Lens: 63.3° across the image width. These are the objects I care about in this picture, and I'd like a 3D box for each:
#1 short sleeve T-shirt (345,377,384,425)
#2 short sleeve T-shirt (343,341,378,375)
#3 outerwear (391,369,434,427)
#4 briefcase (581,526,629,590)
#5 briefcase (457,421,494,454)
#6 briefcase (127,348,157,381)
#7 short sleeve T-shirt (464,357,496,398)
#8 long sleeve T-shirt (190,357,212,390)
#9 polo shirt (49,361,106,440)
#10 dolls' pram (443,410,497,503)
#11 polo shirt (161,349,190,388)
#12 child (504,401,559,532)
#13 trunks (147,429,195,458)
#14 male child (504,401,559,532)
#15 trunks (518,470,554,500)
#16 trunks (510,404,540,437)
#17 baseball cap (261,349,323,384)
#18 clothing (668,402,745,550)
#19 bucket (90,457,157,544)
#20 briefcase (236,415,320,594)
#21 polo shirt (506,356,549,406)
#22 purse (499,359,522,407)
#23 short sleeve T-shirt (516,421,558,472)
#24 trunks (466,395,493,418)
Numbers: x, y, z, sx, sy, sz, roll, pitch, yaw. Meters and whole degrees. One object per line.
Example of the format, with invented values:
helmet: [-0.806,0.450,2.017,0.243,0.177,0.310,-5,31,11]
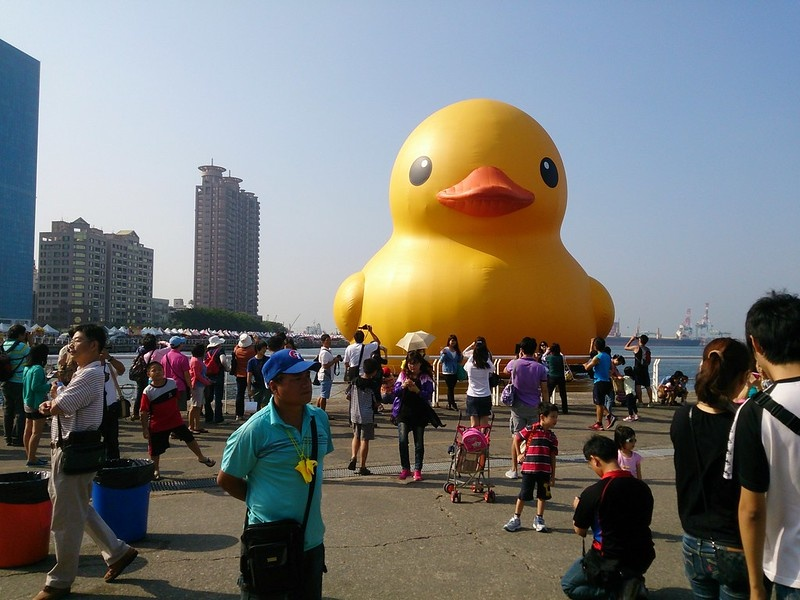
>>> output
short sleeve T-shirt: [-0.490,1.358,8.802,0.430,0.634,0.441,3,-2,-5]
short sleeve T-shirt: [-0.672,0.914,11.083,0.639,0.689,0.376,0,-4,-4]
outerwear: [0.163,1.261,8.430,0.485,0.735,0.444,2,-16,11]
briefcase: [1.560,1.991,4.973,0.299,0.292,0.223,32,12,19]
briefcase: [0.869,1.626,7.766,0.304,0.202,0.422,-2,0,0]
briefcase: [-4.263,1.065,10.679,0.582,0.626,0.446,4,-9,-18]
short sleeve T-shirt: [1.139,1.110,9.339,0.531,0.769,0.444,-1,-6,12]
long sleeve T-shirt: [-3.591,1.279,11.546,0.401,0.596,0.574,-4,0,-10]
polo shirt: [-2.827,0.929,5.759,0.348,0.706,0.595,8,-6,-27]
dolls' pram: [0.817,1.836,7.756,0.607,1.066,0.745,3,-4,10]
polo shirt: [-3.655,1.075,10.465,0.471,0.686,0.253,6,16,-1]
child: [1.491,1.750,7.264,0.497,1.226,1.652,2,-1,15]
trunks: [-2.911,1.783,8.280,0.539,0.275,0.304,3,-1,-22]
male child: [1.487,1.749,7.267,0.502,1.226,1.645,2,-1,13]
trunks: [1.425,1.950,6.794,0.276,0.358,0.571,2,-1,19]
trunks: [1.603,1.528,8.290,0.236,0.358,0.447,-11,-32,-5]
baseball cap: [-0.755,0.471,4.475,0.314,0.180,0.232,-22,0,4]
clothing: [2.144,1.142,4.365,0.469,0.949,0.676,4,-5,-20]
bucket: [-2.651,1.907,6.470,0.692,0.813,0.674,0,7,0]
briefcase: [-0.760,1.329,4.204,0.503,1.069,0.328,3,-2,-23]
polo shirt: [1.681,1.001,8.820,0.700,0.868,0.493,2,-3,12]
purse: [1.486,1.141,8.675,0.207,0.642,0.355,0,10,-20]
short sleeve T-shirt: [1.440,1.583,6.878,0.436,0.570,0.200,10,-27,9]
trunks: [1.107,1.478,9.256,0.418,0.446,0.274,-2,9,1]
